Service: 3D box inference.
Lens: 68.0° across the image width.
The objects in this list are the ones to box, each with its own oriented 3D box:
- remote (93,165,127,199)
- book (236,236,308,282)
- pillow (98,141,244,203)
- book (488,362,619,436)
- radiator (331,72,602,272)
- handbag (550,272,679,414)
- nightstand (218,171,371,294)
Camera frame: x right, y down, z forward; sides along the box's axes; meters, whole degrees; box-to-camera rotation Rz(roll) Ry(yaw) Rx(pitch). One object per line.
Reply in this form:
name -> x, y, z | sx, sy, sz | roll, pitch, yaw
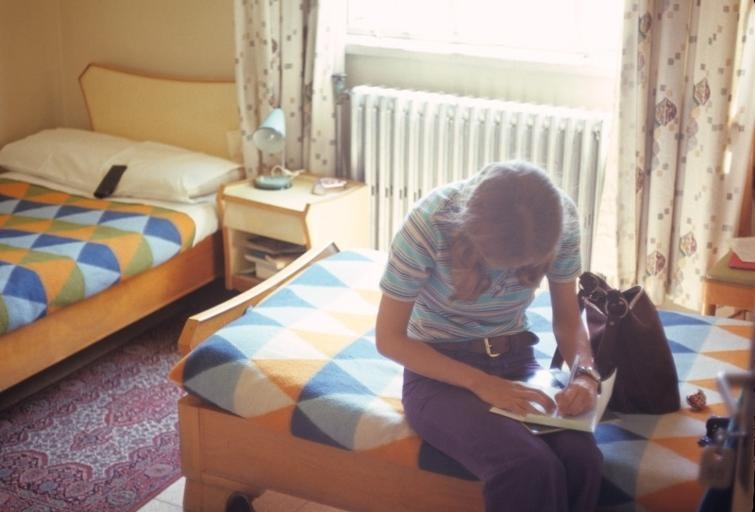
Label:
remote -> -1.655, -0.465, 3.505 | 0.116, 0.179, 0.202 | 13, 24, 25
book -> -0.645, -0.005, 3.362 | 0.291, 0.125, 0.298 | 15, 26, 30
pillow -> -1.332, -0.524, 3.514 | 0.534, 0.162, 0.451 | 12, 31, 26
book -> 0.556, 0.452, 1.679 | 0.260, 0.093, 0.254 | 12, 32, 26
radiator -> 0.435, -0.440, 2.594 | 1.079, 0.953, 0.161 | 11, 24, 22
handbag -> 0.804, 0.258, 1.886 | 0.213, 0.370, 0.341 | -11, 10, -13
nightstand -> -0.487, -0.132, 3.710 | 0.959, 0.827, 0.776 | 4, 21, -18
